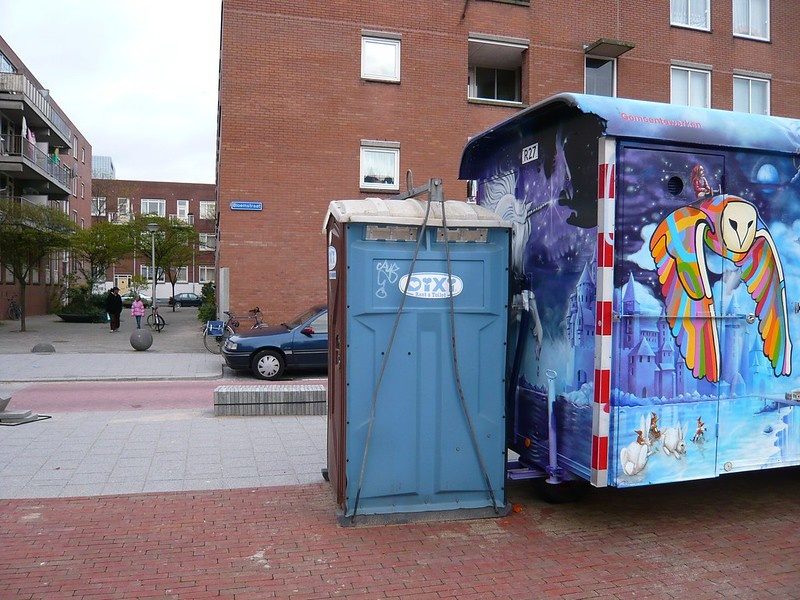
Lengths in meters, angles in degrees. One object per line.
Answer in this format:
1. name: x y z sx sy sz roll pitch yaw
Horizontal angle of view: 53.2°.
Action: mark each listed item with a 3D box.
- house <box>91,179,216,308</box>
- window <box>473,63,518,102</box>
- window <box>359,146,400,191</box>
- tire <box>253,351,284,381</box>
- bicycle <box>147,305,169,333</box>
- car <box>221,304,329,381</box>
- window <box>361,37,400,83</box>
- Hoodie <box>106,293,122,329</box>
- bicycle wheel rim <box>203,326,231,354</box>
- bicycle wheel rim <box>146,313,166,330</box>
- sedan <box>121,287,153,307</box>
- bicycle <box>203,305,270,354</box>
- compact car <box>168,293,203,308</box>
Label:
1. house: -21.093 -5.060 73.228 10.130 10.195 6.015 1 0 11
2. window: 2.903 -6.791 24.839 1.527 1.074 0.068 2 -5 -7
3. window: -0.625 -3.649 22.261 1.175 1.250 0.136 1 1 -22
4. tire: -2.679 1.324 16.290 0.553 0.599 0.188 1 1 -4
5. bicycle: -9.264 0.745 30.641 0.760 0.934 1.523 -1 0 -34
6. car: -2.455 0.943 16.858 2.711 1.168 1.293 2 -1 -5
7. window: -0.584 -6.639 22.084 1.195 1.185 0.142 3 -3 -23
8. Hoodie: -9.954 0.333 27.847 0.411 1.640 1.103 -3 11 -20
9. bicycle wheel rim: -4.855 1.136 20.656 0.831 0.854 0.264 1 5 20
10. bicycle wheel rim: -9.085 0.857 30.295 0.720 0.749 0.256 7 13 36
11. sedan: -15.877 -0.148 48.225 2.959 1.082 1.397 -2 1 20
12. bicycle: -4.071 0.790 20.643 1.922 1.267 0.821 1 11 -18
13. compact car: -16.380 0.075 61.102 1.975 0.682 0.969 -4 5 -16
